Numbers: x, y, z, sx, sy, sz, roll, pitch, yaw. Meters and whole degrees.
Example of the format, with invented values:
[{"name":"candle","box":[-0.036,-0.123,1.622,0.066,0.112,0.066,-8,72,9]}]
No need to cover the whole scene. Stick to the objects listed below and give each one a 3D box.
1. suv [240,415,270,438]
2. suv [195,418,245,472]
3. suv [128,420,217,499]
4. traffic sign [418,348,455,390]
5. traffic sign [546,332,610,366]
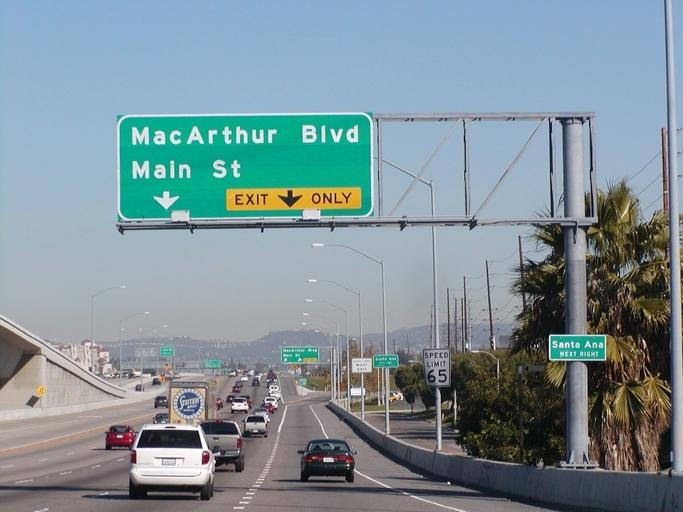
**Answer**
[{"name":"suv","box":[-5.687,11.608,78.286,1.511,1.484,2.084,0,-10,-7]},{"name":"suv","box":[-5.347,8.419,50.883,1.969,2.338,4.562,0,-7,-8]},{"name":"suv","box":[-5.552,6.875,38.295,2.686,2.536,1.208,1,-8,-16]},{"name":"traffic sign","box":[4.198,4.867,49.844,1.067,1.660,1.942,-2,-9,3]},{"name":"traffic sign","box":[7.665,2.986,37.310,1.799,0.810,0.200,-2,-8,4]}]
